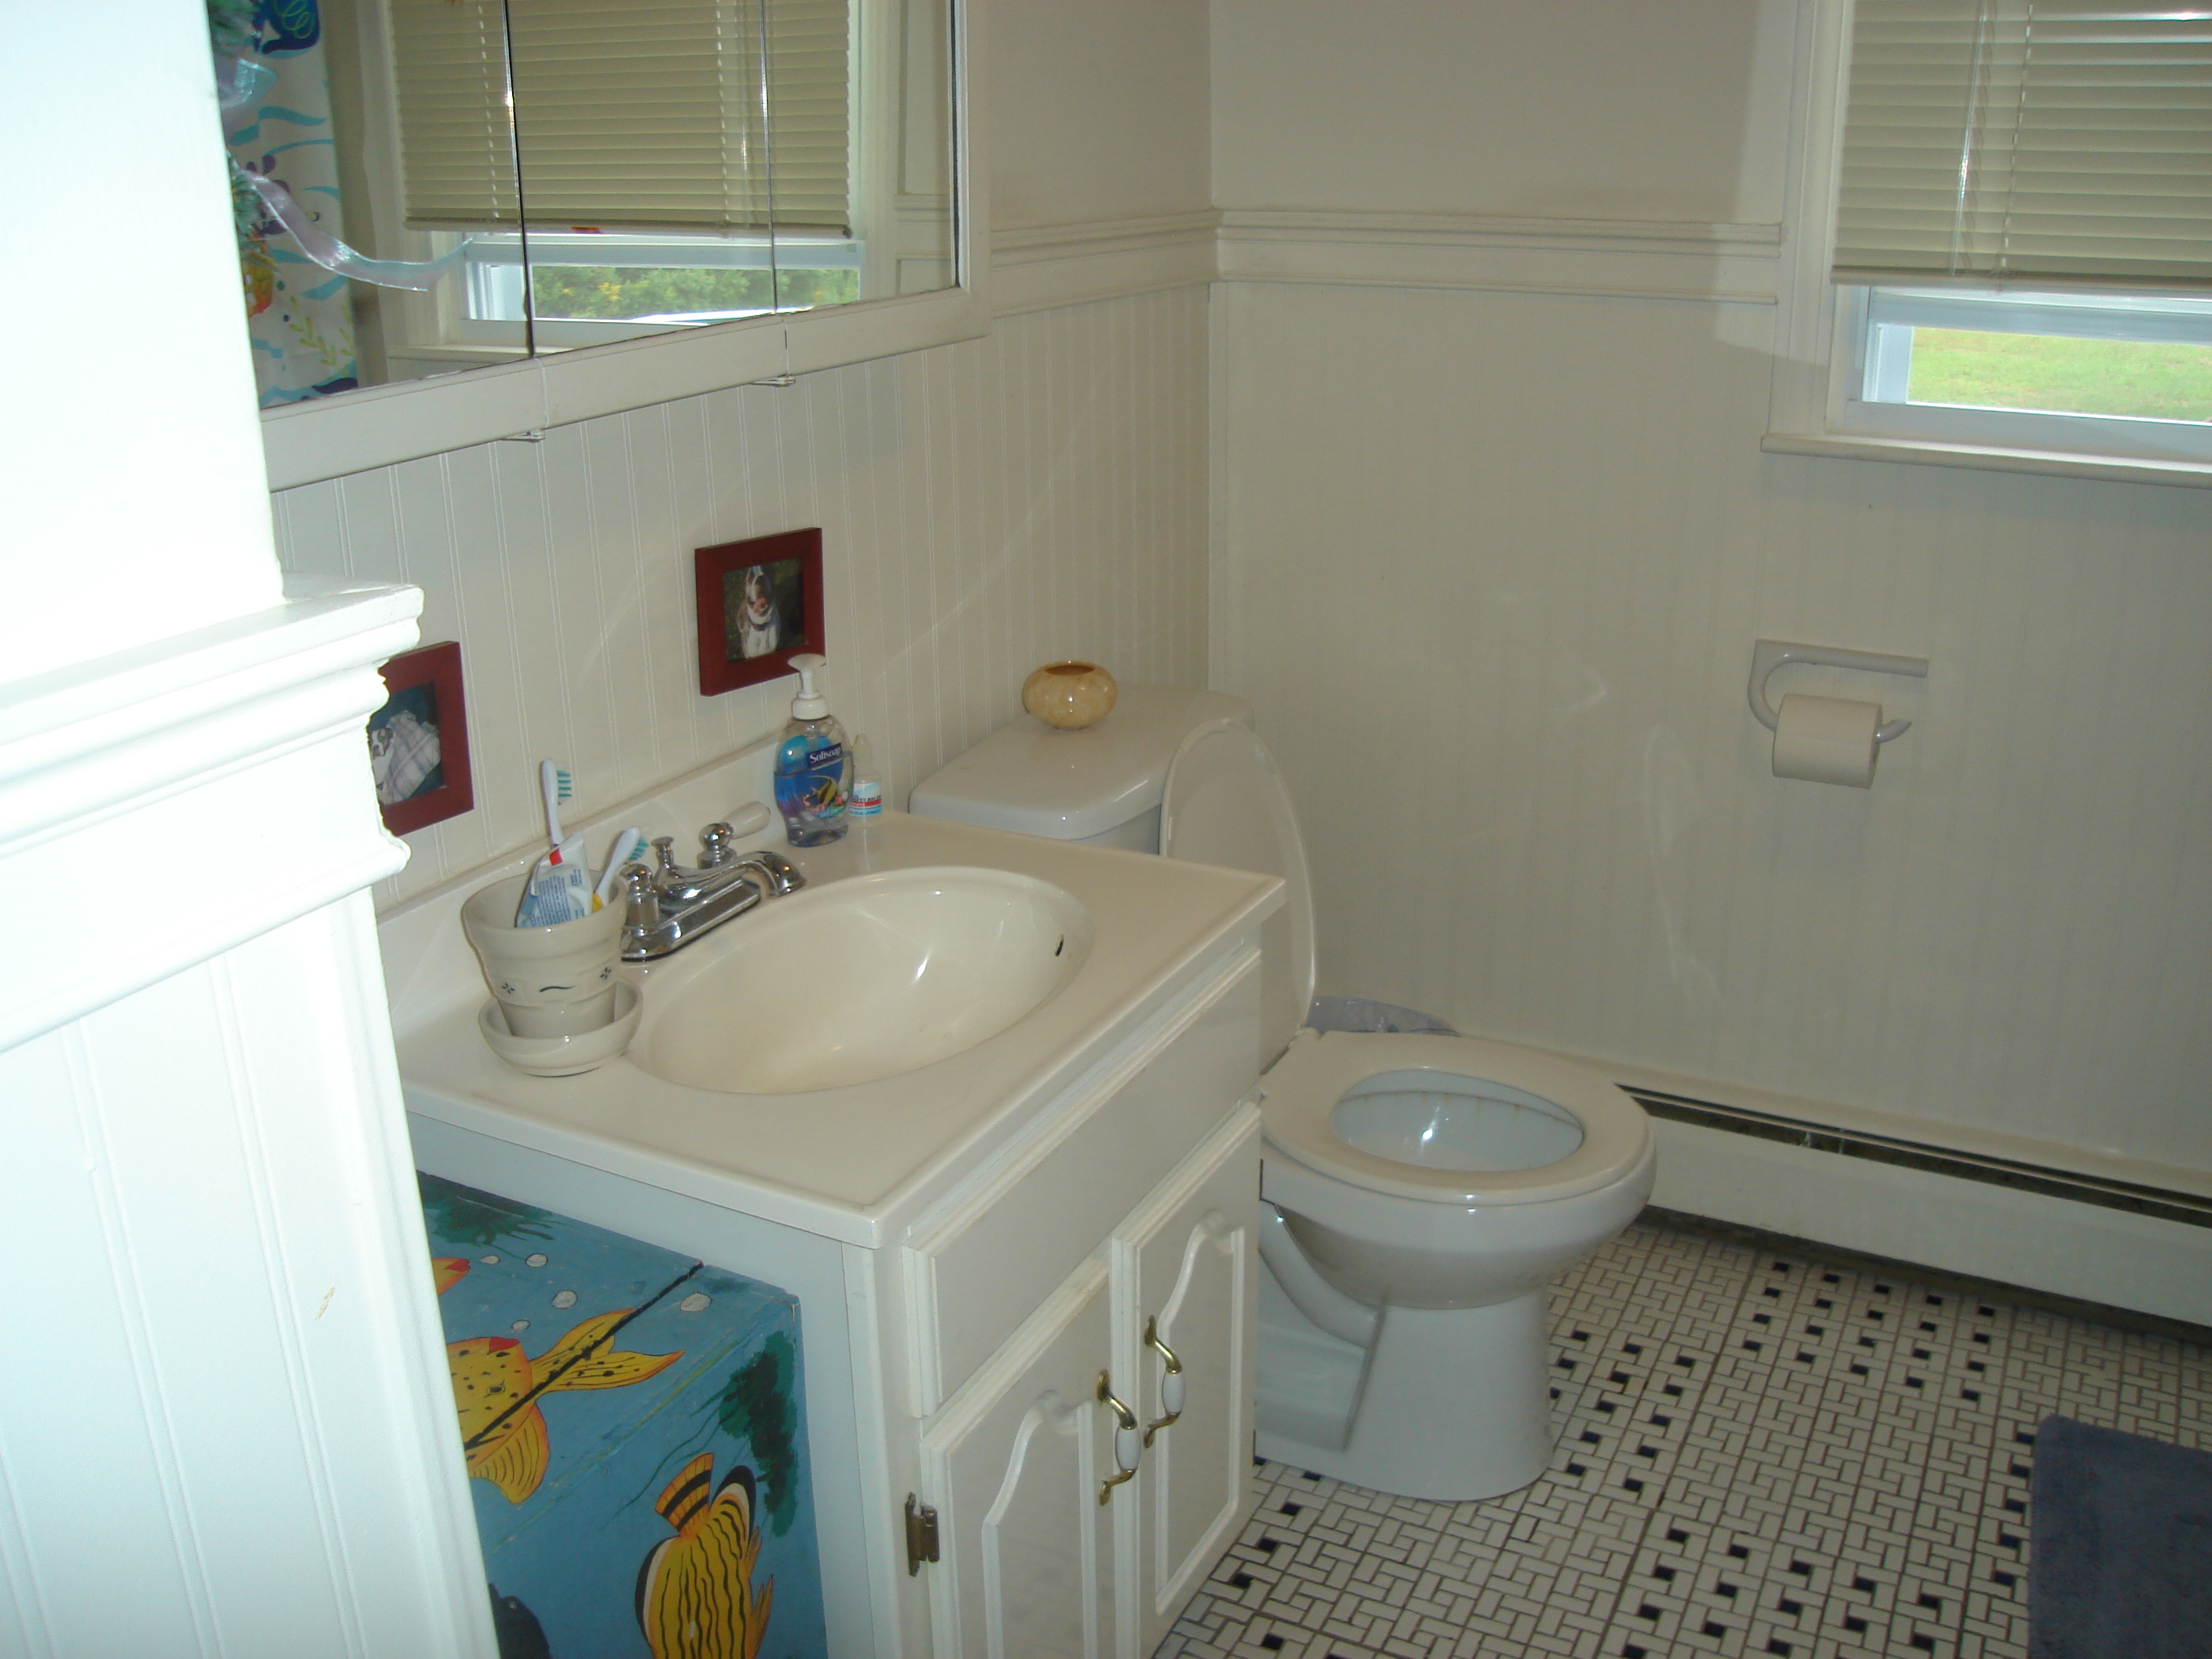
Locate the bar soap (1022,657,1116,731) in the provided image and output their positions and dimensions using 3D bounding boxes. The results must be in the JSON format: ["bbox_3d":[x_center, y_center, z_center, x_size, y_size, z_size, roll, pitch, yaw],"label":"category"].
[{"bbox_3d":[-0.047,-0.177,2.284,0.086,0.066,0.098,2,21,1],"label":"bar soap"}]

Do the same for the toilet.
[{"bbox_3d":[0.314,0.364,2.290,0.856,0.939,0.567,6,20,26],"label":"toilet"}]

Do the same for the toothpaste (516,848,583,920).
[{"bbox_3d":[-0.479,0.050,1.466,0.029,0.056,0.040,14,24,27],"label":"toothpaste"}]

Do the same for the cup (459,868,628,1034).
[{"bbox_3d":[-0.487,0.119,1.483,0.119,0.127,0.123,2,20,-1],"label":"cup"}]

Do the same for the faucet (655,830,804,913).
[{"bbox_3d":[-0.388,0.044,1.726,0.080,0.041,0.111,5,18,17],"label":"faucet"}]

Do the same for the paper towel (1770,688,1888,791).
[{"bbox_3d":[1.020,-0.126,2.399,0.160,0.126,0.145,5,33,25],"label":"paper towel"}]

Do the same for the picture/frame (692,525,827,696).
[{"bbox_3d":[-0.389,-0.245,1.877,0.015,0.140,0.163,13,26,29],"label":"picture/frame"}]
